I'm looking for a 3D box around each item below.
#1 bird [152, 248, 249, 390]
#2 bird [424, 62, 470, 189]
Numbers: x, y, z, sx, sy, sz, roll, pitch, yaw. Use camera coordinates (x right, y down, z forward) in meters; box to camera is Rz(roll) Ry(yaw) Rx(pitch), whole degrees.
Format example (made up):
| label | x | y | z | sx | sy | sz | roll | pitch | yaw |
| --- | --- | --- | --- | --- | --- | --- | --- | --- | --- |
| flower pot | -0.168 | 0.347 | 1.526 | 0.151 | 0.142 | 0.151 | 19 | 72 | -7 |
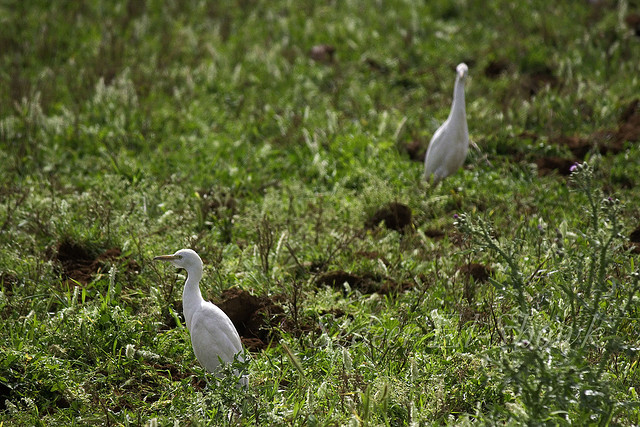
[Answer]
| label | x | y | z | sx | sy | sz | roll | pitch | yaw |
| --- | --- | --- | --- | --- | --- | --- | --- | --- | --- |
| bird | -0.872 | 0.762 | 5.660 | 0.337 | 0.769 | 0.710 | -16 | 35 | -18 |
| bird | 1.163 | -0.749 | 6.714 | 0.410 | 1.201 | 0.279 | 0 | 33 | 6 |
